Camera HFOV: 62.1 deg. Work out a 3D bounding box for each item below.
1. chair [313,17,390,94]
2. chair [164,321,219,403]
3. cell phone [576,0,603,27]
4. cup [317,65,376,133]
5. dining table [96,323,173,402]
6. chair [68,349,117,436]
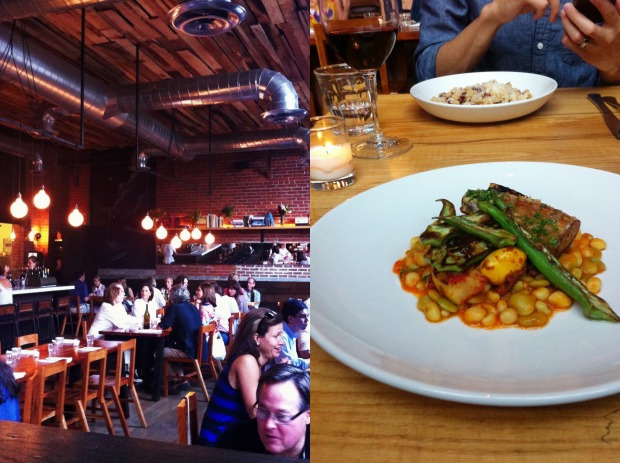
[{"bbox_3d":[0.086,-0.350,1.036,0.125,0.105,0.157,-13,94,21],"label":"chair"},{"bbox_3d":[-0.738,0.784,3.160,0.340,0.319,0.408,4,84,-20],"label":"chair"},{"bbox_3d":[0.785,-0.611,1.441,0.060,0.062,0.017,24,81,5],"label":"cell phone"},{"bbox_3d":[0.085,-0.310,1.273,0.164,0.154,0.169,1,103,5],"label":"cup"},{"bbox_3d":[-1.163,0.760,3.398,0.370,0.363,0.257,-1,102,1],"label":"dining table"},{"bbox_3d":[-1.372,1.002,3.230,0.308,0.291,0.466,-18,91,-12],"label":"chair"}]
